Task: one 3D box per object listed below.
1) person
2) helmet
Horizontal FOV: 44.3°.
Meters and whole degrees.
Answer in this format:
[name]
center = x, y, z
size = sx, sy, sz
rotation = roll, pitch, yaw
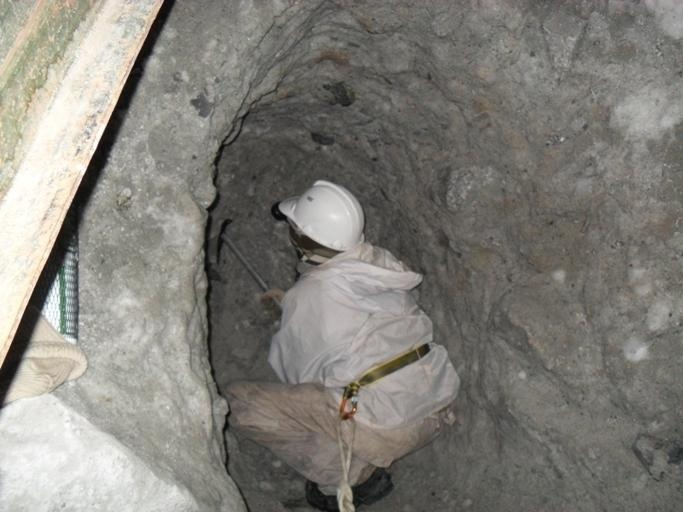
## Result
[person]
center = 0.017, 0.568, 4.382
size = 1.184, 0.972, 1.121
rotation = 33, 57, 20
[helmet]
center = -0.100, -0.182, 4.510
size = 0.400, 0.231, 0.313
rotation = 40, 49, 8
